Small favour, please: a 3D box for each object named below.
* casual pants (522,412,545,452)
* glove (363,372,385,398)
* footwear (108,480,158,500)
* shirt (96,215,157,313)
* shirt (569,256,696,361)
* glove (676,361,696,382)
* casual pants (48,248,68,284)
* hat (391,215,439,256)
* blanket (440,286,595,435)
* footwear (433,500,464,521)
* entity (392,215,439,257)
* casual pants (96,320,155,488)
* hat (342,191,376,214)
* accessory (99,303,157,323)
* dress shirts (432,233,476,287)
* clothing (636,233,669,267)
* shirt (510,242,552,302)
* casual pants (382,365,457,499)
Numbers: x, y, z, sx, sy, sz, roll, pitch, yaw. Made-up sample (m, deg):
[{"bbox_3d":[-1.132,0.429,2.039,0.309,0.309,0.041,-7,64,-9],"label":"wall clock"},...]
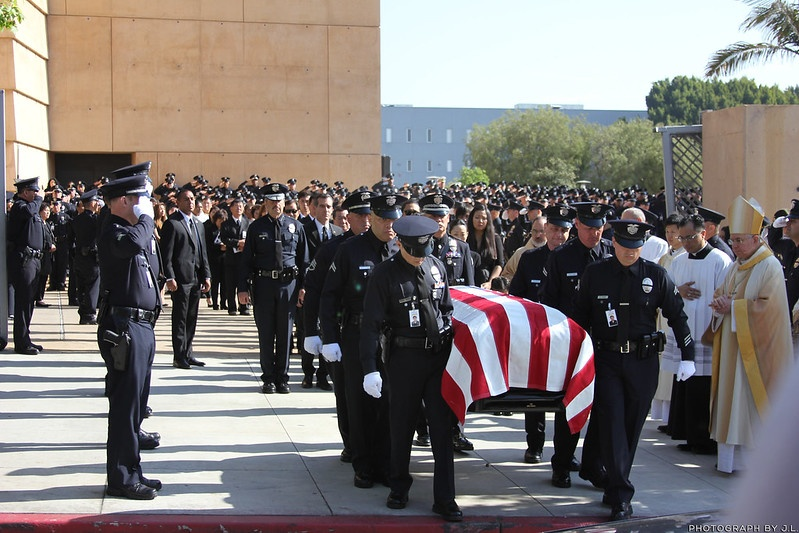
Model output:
[{"bbox_3d":[1.833,2.290,14.407,0.254,0.225,0.798,-18,-1,8],"label":"casual pants"},{"bbox_3d":[-0.301,1.413,13.109,0.336,0.319,0.234,3,2,-17],"label":"glove"},{"bbox_3d":[-3.152,2.683,13.059,0.608,0.239,0.217,1,3,-3],"label":"footwear"},{"bbox_3d":[-3.281,-0.018,13.196,0.601,1.026,1.115,-6,8,-14],"label":"shirt"},{"bbox_3d":[2.826,0.539,13.420,1.500,1.165,0.586,0,0,0],"label":"shirt"},{"bbox_3d":[3.558,1.302,13.460,0.168,0.304,0.223,4,14,9],"label":"glove"},{"bbox_3d":[-7.961,-0.011,25.410,0.491,1.256,0.358,3,22,-13],"label":"casual pants"},{"bbox_3d":[0.225,-0.375,13.098,0.542,0.233,0.607,-12,32,-16],"label":"hat"},{"bbox_3d":[1.416,1.004,12.868,1.260,0.927,2.000,1,-1,-16],"label":"blanket"},{"bbox_3d":[0.597,2.897,12.843,0.164,0.161,0.374,4,-6,-42],"label":"footwear"},{"bbox_3d":[0.227,-0.395,13.098,0.533,0.245,0.597,-24,39,-30],"label":"entity"},{"bbox_3d":[-3.242,1.652,13.091,0.473,1.935,0.649,1,14,-6],"label":"casual pants"},{"bbox_3d":[-0.528,-0.854,14.457,0.300,0.177,0.337,0,-4,-24],"label":"hat"},{"bbox_3d":[-3.258,0.567,13.175,0.366,0.138,0.318,9,-2,10],"label":"accessory"},{"bbox_3d":[0.730,-0.074,14.917,0.766,0.961,0.303,-6,4,-36],"label":"dress shirts"},{"bbox_3d":[3.597,-0.217,15.431,0.363,0.451,0.266,27,13,23],"label":"clothing"},{"bbox_3d":[1.797,0.097,14.629,0.740,0.669,0.299,10,4,-16],"label":"shirt"},{"bbox_3d":[0.337,1.819,13.140,0.864,2.407,0.610,6,21,13],"label":"casual pants"}]
